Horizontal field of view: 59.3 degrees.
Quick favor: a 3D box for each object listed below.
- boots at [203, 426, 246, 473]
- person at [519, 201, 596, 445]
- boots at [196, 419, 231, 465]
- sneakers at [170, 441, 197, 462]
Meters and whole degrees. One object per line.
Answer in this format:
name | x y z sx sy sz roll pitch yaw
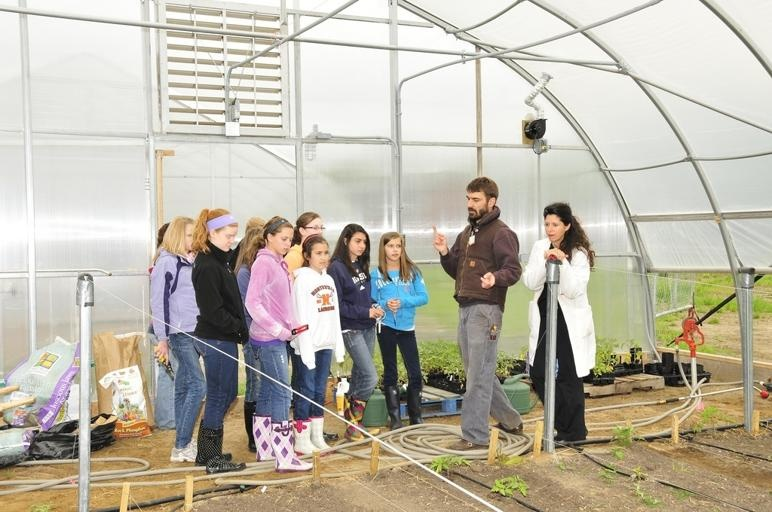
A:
boots | -1.790 2.046 7.334 0.469 0.502 0.499 -2 0 -36
person | 1.937 0.734 7.602 0.734 2.627 0.659 -2 -1 27
boots | -1.800 2.011 7.296 0.444 0.515 0.256 10 4 -37
sneakers | -2.234 2.177 7.614 0.361 0.181 0.148 -1 1 -11
